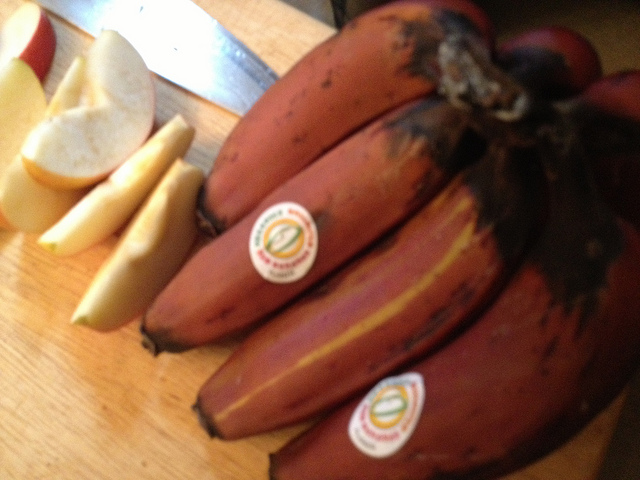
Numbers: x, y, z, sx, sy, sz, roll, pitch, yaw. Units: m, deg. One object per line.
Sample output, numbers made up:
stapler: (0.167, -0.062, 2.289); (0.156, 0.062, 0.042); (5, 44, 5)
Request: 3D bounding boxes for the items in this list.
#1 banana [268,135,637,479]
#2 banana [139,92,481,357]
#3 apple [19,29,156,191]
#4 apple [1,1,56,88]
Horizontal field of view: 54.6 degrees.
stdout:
banana: (0.188, 0.163, 0.791); (0.225, 0.469, 0.157); (52, 17, 22)
banana: (-0.005, -0.009, 0.795); (0.106, 0.390, 0.131); (49, 3, -10)
apple: (-0.357, -0.191, 0.993); (0.154, 0.134, 0.326); (8, 52, 7)
apple: (-0.483, -0.330, 1.064); (0.066, 0.139, 0.125); (2, 24, -27)
